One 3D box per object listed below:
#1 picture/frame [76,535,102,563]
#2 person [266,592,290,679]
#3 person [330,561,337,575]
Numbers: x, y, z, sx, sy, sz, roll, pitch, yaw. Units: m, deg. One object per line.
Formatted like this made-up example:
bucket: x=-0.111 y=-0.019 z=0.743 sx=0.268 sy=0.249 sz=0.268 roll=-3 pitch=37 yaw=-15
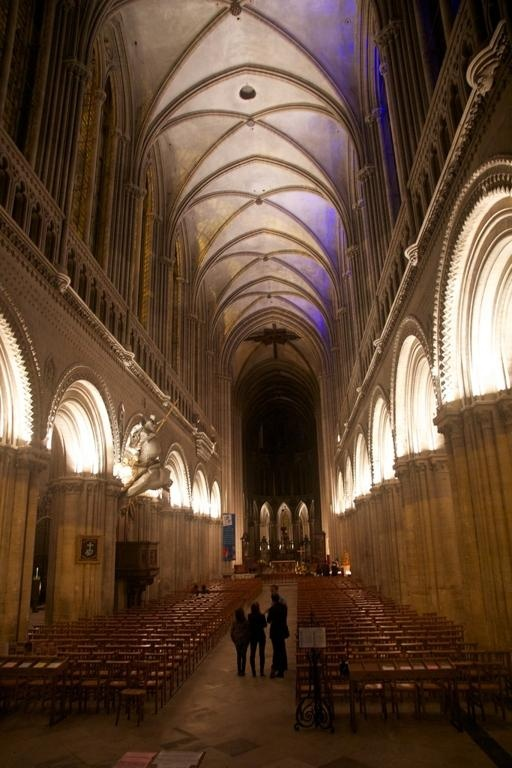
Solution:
picture/frame: x=-3.882 y=3.820 z=10.363 sx=0.484 sy=0.722 sz=0.098 roll=6 pitch=-21 yaw=-27
person: x=0.340 y=3.939 z=7.101 sx=0.318 sy=1.183 sz=1.111 roll=-3 pitch=-17 yaw=1
person: x=4.610 y=10.837 z=26.378 sx=0.309 sy=0.617 sz=1.160 roll=-5 pitch=-19 yaw=9
